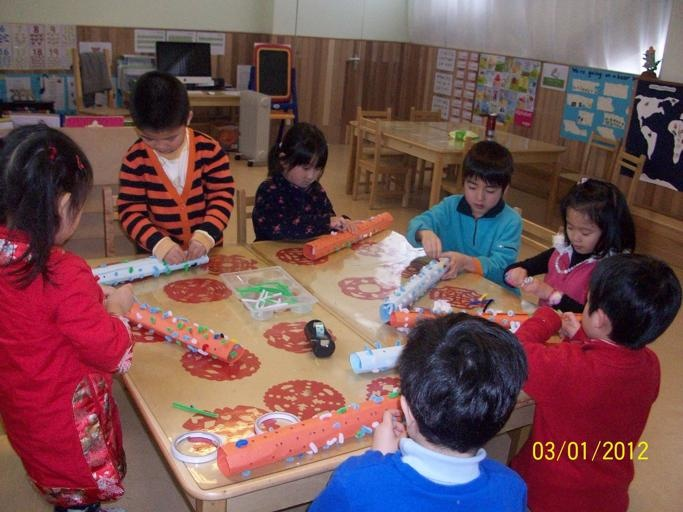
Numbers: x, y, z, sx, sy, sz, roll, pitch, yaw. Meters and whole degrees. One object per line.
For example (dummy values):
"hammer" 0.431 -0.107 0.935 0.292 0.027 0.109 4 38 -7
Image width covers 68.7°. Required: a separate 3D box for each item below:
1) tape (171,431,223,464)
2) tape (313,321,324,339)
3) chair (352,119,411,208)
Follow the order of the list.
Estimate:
"tape" -0.336 0.436 1.163 0.087 0.019 0.093 4 2 6
"tape" -0.065 0.226 1.512 0.033 0.067 0.035 -1 -12 -12
"chair" 0.424 -0.974 5.299 0.544 0.971 0.551 -7 32 -16
